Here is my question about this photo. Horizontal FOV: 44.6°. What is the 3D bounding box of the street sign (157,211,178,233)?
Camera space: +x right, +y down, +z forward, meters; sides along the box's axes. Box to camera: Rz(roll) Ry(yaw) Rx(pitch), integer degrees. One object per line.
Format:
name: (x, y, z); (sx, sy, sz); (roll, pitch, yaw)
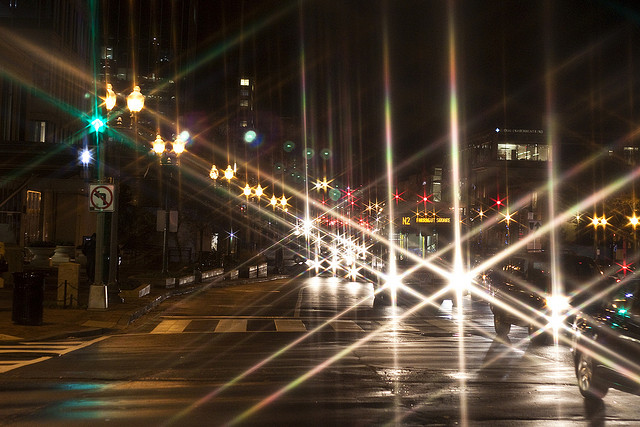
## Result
street sign: (-8.529, 0.411, 43.623); (1.249, 1.179, 0.134); (2, -6, -29)

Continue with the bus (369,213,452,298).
bus: (4.605, 2.079, 38.526); (4.164, 4.574, 12.039); (1, -3, 3)

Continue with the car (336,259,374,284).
car: (3.120, 5.760, 73.560); (2.216, 2.186, 2.230); (1, 0, 39)

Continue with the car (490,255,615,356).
car: (7.961, 2.784, 26.334); (2.394, 2.176, 4.620); (1, -8, -11)

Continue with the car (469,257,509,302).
car: (7.693, 3.090, 37.784); (1.893, 1.417, 3.032); (0, -12, 0)

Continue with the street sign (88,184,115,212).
street sign: (-8.785, -0.641, 31.435); (1.004, 0.934, 0.133); (-12, -1, -25)
